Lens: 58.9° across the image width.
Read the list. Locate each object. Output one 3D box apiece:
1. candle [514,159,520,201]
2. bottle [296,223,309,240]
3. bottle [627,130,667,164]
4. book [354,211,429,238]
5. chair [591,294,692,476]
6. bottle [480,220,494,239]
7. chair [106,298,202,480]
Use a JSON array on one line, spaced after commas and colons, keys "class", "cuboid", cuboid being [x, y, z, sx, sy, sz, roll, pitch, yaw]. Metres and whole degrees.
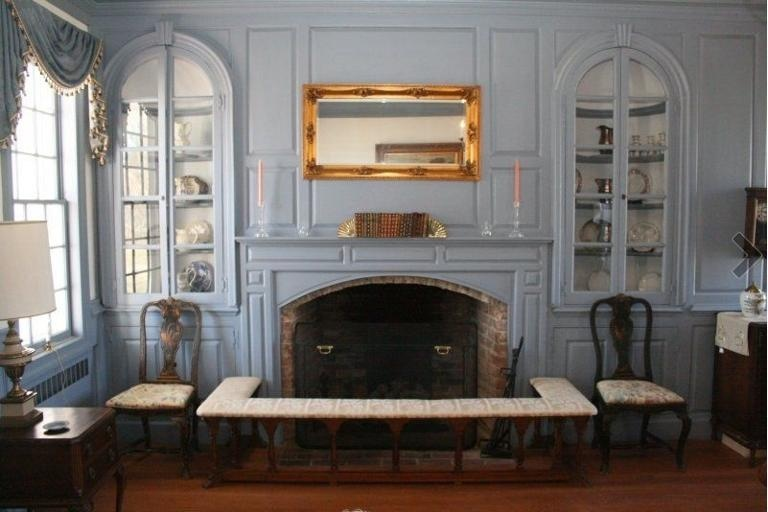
[{"class": "candle", "cuboid": [1.236, -0.690, 6.304, 0.059, 0.384, 0.208, -1, 4, 11]}, {"class": "bottle", "cuboid": [-0.764, -0.248, 6.389, 0.120, 0.118, 0.078, -2, 4, -8]}, {"class": "bottle", "cuboid": [2.491, -1.044, 6.426, 0.335, 0.274, 0.125, 0, 0, -1]}, {"class": "book", "cuboid": [0.069, -0.287, 6.302, 0.679, 0.240, 0.071, -1, 4, 1]}, {"class": "chair", "cuboid": [2.320, 1.126, 6.265, 0.807, 1.531, 0.547, -1, 4, 2]}, {"class": "bottle", "cuboid": [0.965, -0.259, 6.385, 0.105, 0.139, 0.085, -1, 4, 8]}, {"class": "chair", "cuboid": [-2.053, 1.145, 6.207, 0.774, 1.509, 0.708, -2, 4, -13]}]
